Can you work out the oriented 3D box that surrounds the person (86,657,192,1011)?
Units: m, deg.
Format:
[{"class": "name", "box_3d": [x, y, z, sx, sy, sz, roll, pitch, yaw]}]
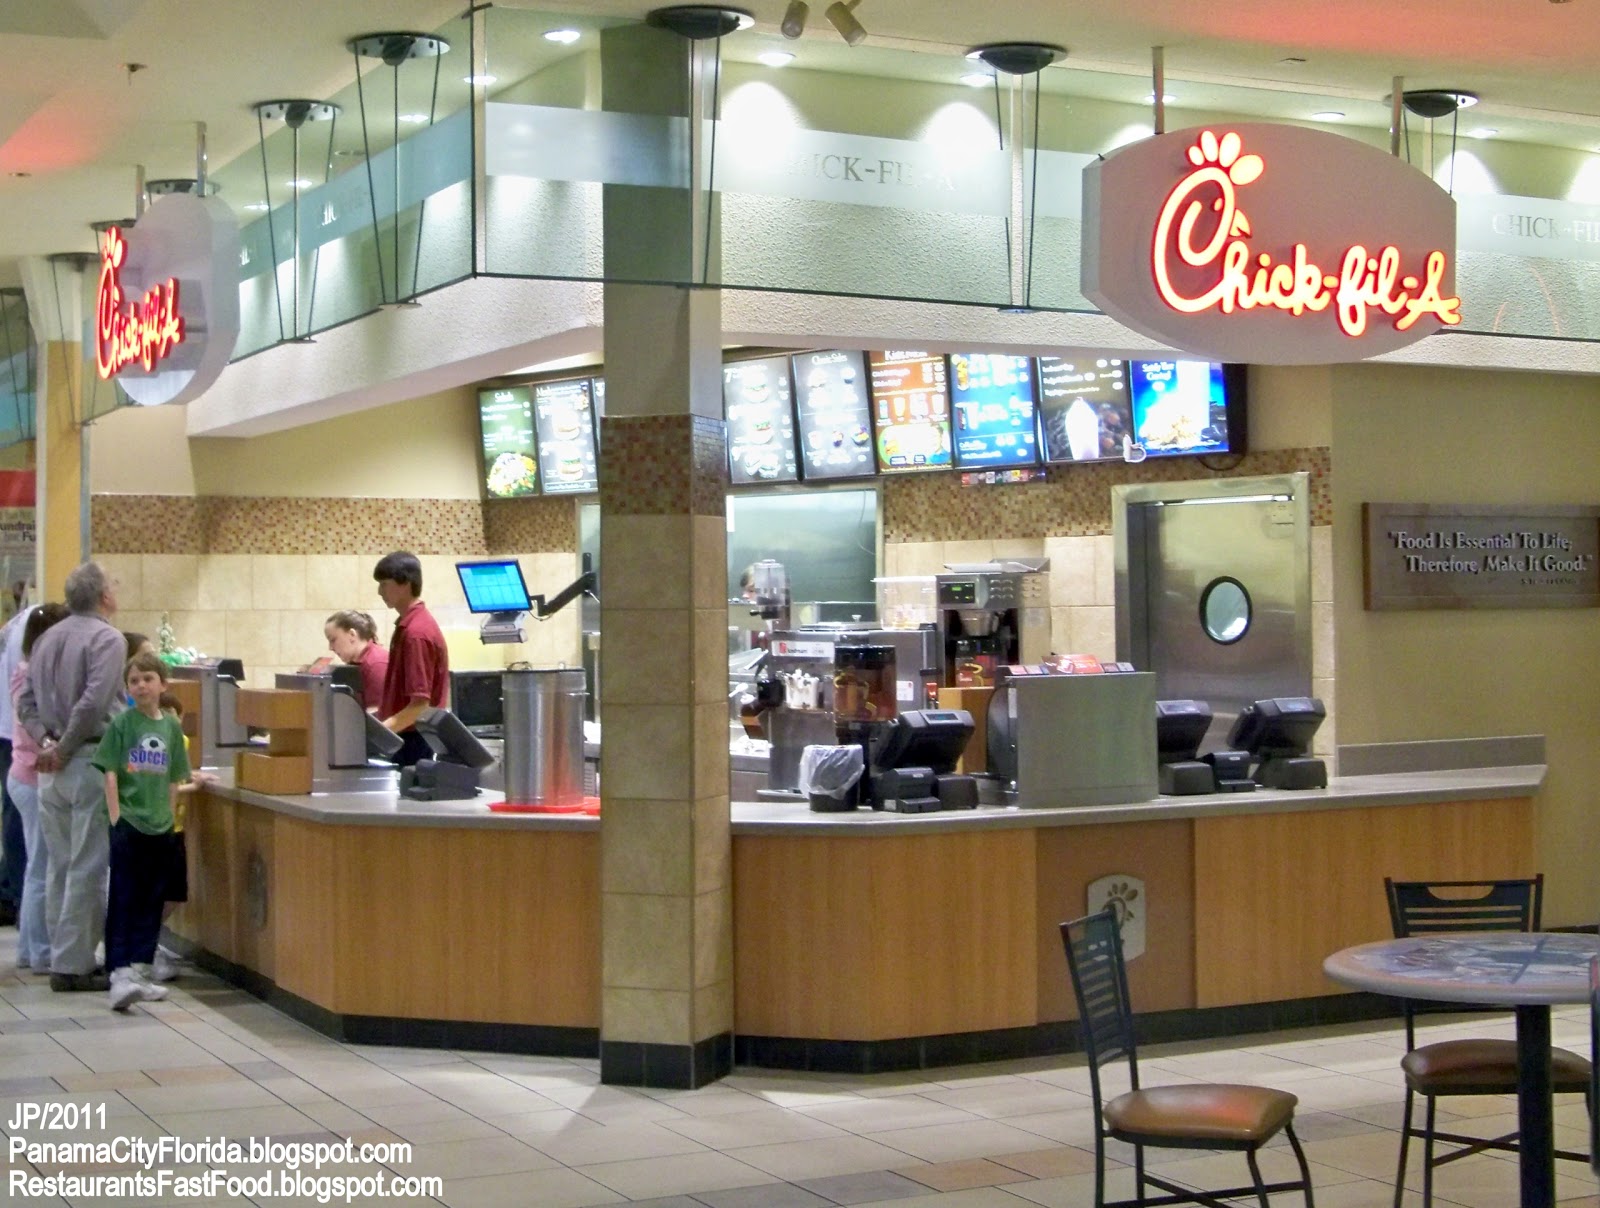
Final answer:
[{"class": "person", "box_3d": [-3.204, 1.067, 7.461, 0.411, 1.682, 0.680, -1, -3, -23]}]

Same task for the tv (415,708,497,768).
[{"class": "tv", "box_3d": [-1.579, 0.611, 6.980, 0.344, 0.273, 0.169, -1, -3, -16]}]

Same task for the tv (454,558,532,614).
[{"class": "tv", "box_3d": [-1.737, -0.123, 8.636, 0.403, 0.354, 0.122, -6, -21, -21]}]

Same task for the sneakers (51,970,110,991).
[{"class": "sneakers", "box_3d": [-3.531, 1.837, 7.508, 0.289, 0.118, 0.102, -2, 4, -17]}]

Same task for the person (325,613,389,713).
[{"class": "person", "box_3d": [-2.356, 0.306, 8.055, 0.259, 0.695, 0.233, -15, -19, -4]}]

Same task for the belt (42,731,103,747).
[{"class": "belt", "box_3d": [-3.526, 0.653, 7.445, 0.168, 0.052, 0.174, 0, -2, -4]}]

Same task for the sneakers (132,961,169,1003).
[{"class": "sneakers", "box_3d": [-3.157, 1.841, 7.407, 0.112, 0.130, 0.326, 4, -8, -30]}]

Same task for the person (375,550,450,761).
[{"class": "person", "box_3d": [-1.909, 0.249, 7.493, 0.339, 1.069, 0.635, -1, -3, -16]}]

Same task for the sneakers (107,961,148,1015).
[{"class": "sneakers", "box_3d": [-3.169, 1.808, 7.157, 0.138, 0.195, 0.193, 0, 33, -7]}]
